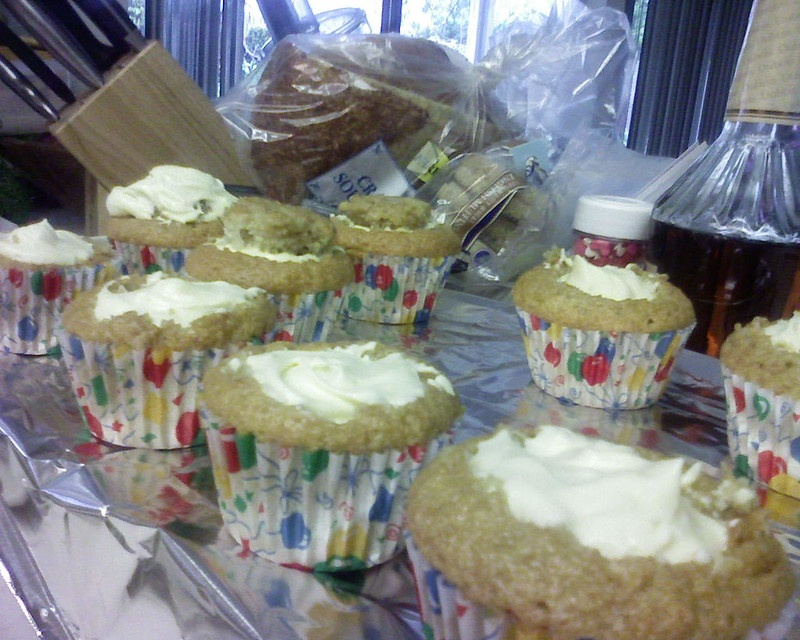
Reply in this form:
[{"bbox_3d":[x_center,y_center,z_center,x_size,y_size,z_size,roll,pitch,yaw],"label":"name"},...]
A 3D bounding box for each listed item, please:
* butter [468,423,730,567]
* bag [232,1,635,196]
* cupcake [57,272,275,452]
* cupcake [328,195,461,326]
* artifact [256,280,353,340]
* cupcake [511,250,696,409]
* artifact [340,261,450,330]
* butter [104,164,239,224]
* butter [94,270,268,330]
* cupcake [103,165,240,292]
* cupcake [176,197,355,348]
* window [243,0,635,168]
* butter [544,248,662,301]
[{"bbox_3d":[0.271,0.274,0.916,0.402,0.095,0.267,6,23,2],"label":"butter"},{"bbox_3d":[0.273,-0.826,2.570,1.773,0.481,0.879,-8,26,-20],"label":"bag"},{"bbox_3d":[-0.610,0.053,1.530,0.518,0.255,0.471,-4,19,-36],"label":"cupcake"},{"bbox_3d":[-0.027,-0.212,2.294,0.568,0.348,0.495,6,8,-11],"label":"cupcake"},{"bbox_3d":[-0.274,-0.029,1.747,0.205,0.075,0.191,-2,20,-5],"label":"artifact"},{"bbox_3d":[0.514,0.038,1.813,0.631,0.286,0.492,2,9,-18],"label":"cupcake"},{"bbox_3d":[-0.022,-0.100,2.169,0.345,0.146,0.280,10,6,8],"label":"artifact"},{"bbox_3d":[-0.718,-0.382,1.977,0.341,0.076,0.246,-6,27,-16],"label":"butter"},{"bbox_3d":[-0.508,-0.047,1.425,0.243,0.055,0.180,-8,18,-36],"label":"butter"},{"bbox_3d":[-0.711,-0.301,2.029,0.456,0.275,0.424,-1,24,-18],"label":"cupcake"},{"bbox_3d":[-0.393,-0.143,1.891,0.499,0.321,0.466,23,24,32],"label":"cupcake"},{"bbox_3d":[0.300,-0.856,2.597,1.654,0.445,0.837,-8,25,-22],"label":"window"},{"bbox_3d":[0.541,-0.113,1.648,0.236,0.041,0.176,3,17,9],"label":"butter"}]
